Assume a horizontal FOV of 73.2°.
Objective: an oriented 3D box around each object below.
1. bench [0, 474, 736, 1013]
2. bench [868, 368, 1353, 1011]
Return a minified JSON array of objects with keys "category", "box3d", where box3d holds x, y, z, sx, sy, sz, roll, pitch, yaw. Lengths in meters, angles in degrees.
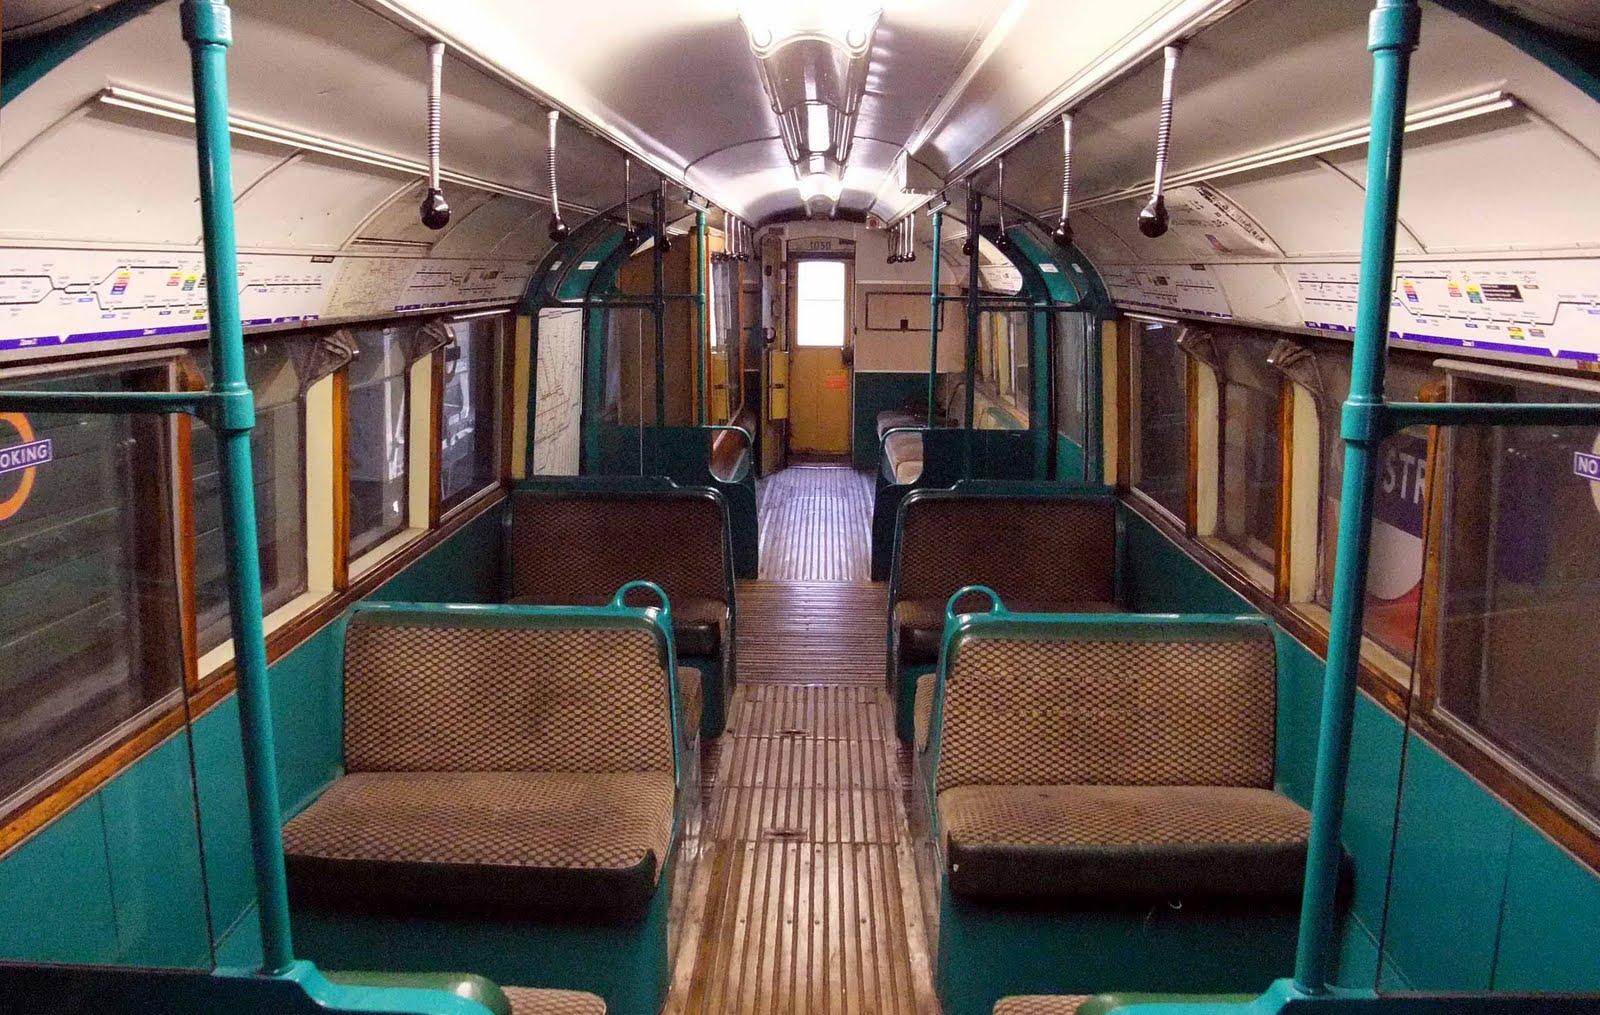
[{"category":"bench","box3d":[-1.741,0.980,5.242,2.469,2.180,1.673,1,0,4]},{"category":"bench","box3d":[1.365,1.079,5.724,1.487,1.293,2.627,0,12,1]}]
